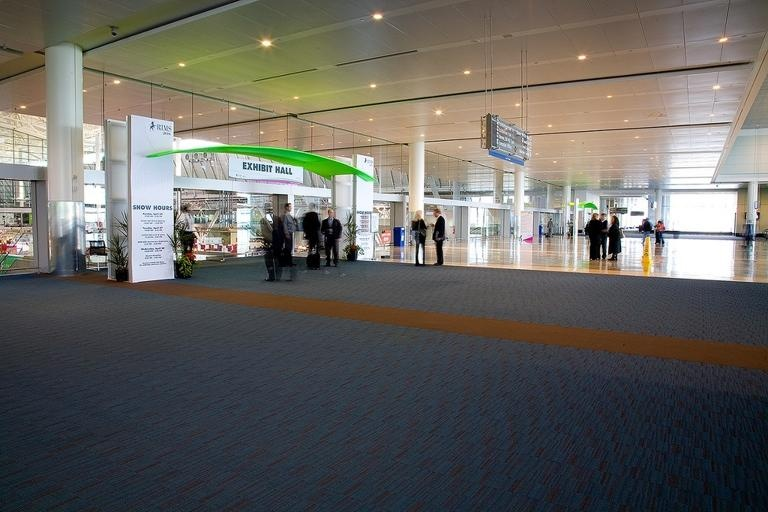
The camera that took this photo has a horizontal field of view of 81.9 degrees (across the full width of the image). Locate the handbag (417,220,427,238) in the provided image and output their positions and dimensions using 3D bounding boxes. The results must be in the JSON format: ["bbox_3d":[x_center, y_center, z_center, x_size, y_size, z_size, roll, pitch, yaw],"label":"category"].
[{"bbox_3d":[1.392,-0.967,15.604,0.431,0.530,0.198,-3,6,-30],"label":"handbag"}]

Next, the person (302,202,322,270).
[{"bbox_3d":[-2.298,-0.614,14.262,0.529,2.028,1.346,-1,8,-9],"label":"person"}]

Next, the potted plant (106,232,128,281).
[{"bbox_3d":[-7.173,0.045,11.877,0.450,1.202,0.939,-4,9,-32],"label":"potted plant"}]

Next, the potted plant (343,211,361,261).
[{"bbox_3d":[-1.260,-0.751,17.573,0.625,1.838,0.477,1,7,8],"label":"potted plant"}]

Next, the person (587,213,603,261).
[{"bbox_3d":[8.688,-0.762,18.079,0.560,1.927,0.908,3,8,23],"label":"person"}]
